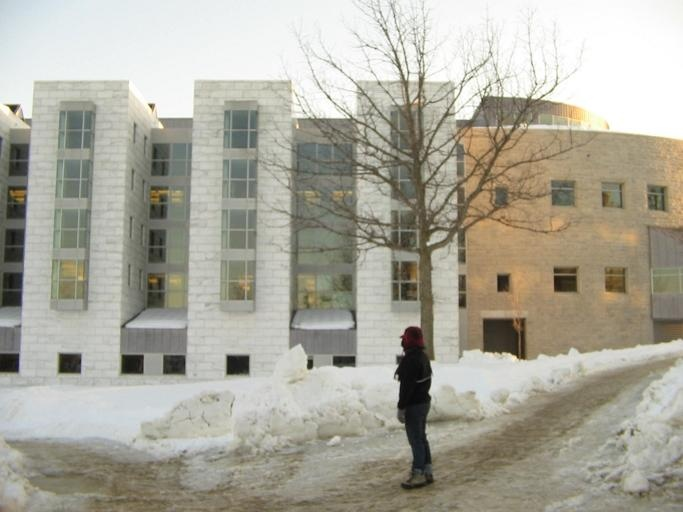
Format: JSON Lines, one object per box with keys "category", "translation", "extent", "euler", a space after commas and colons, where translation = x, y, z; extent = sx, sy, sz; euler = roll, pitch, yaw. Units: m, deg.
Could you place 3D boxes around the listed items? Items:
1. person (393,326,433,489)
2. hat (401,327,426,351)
{"category": "person", "translation": [1.918, 3.912, 19.826], "extent": [0.905, 4.091, 1.098], "euler": [-1, 12, 6]}
{"category": "hat", "translation": [1.875, 2.143, 20.067], "extent": [0.486, 0.676, 0.690], "euler": [4, -4, -35]}
